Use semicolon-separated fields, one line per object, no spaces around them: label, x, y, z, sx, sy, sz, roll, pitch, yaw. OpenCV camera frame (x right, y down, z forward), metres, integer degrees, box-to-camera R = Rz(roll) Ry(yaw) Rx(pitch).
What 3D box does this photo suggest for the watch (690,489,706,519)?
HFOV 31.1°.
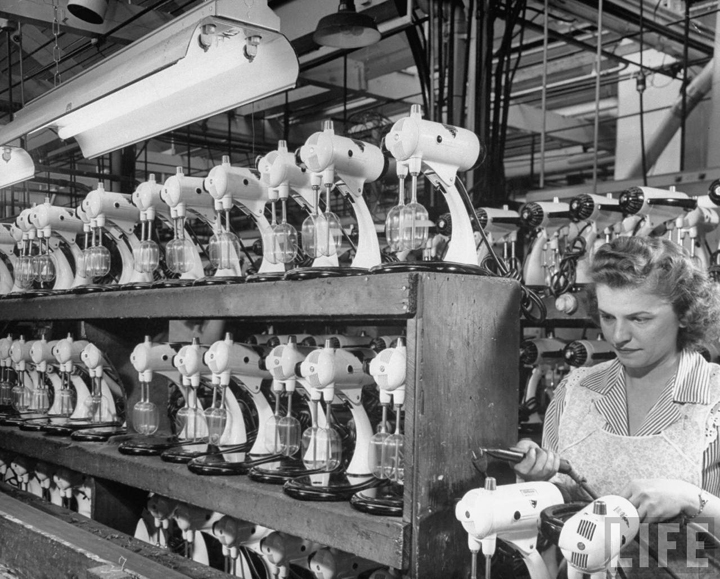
watch;1.216;0.764;4.584;0.066;0.083;0.084;1;-8;-15
